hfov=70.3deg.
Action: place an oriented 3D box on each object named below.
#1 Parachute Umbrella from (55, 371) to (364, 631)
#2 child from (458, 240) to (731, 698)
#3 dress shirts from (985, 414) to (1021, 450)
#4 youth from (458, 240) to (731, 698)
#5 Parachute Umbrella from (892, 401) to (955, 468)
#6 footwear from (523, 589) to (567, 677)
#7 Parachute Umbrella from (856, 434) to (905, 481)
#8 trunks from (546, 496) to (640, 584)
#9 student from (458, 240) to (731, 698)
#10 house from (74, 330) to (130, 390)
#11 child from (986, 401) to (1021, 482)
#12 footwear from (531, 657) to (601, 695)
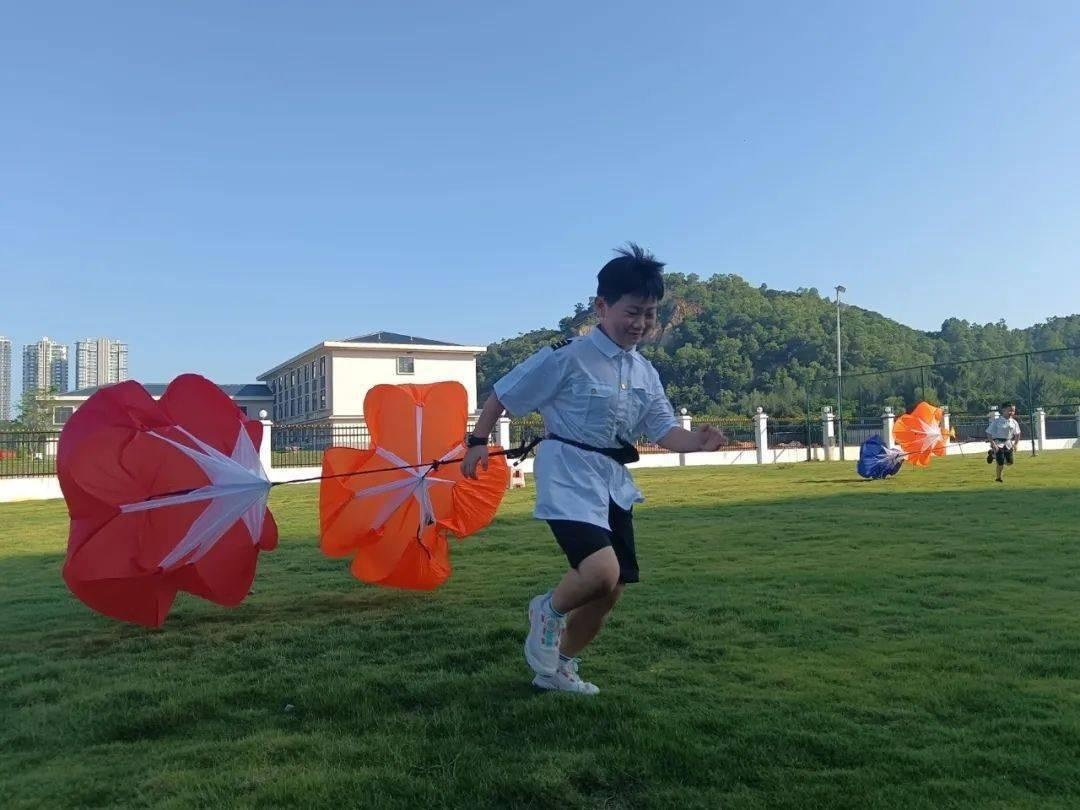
[{"bbox_3d":[-2.345,0.543,4.779,1.111,1.493,0.385,-1,-3,-34],"label":"Parachute Umbrella"},{"bbox_3d":[0.246,0.304,3.712,1.152,2.069,0.605,-2,-2,-7],"label":"child"},{"bbox_3d":[8.989,0.483,14.843,0.498,0.421,0.948,-4,-2,29],"label":"dress shirts"},{"bbox_3d":[0.244,0.304,3.713,1.162,2.069,0.606,-2,-2,-6],"label":"youth"},{"bbox_3d":[8.578,0.672,17.145,0.986,1.500,3.511,-4,-2,28],"label":"Parachute Umbrella"},{"bbox_3d":[0.044,1.032,3.738,0.149,0.453,0.208,2,-12,-26],"label":"footwear"},{"bbox_3d":[7.048,1.042,15.802,0.930,0.858,0.677,-1,-3,-37],"label":"Parachute Umbrella"},{"bbox_3d":[0.302,0.659,3.670,0.486,0.412,0.222,-1,-3,-40],"label":"trunks"},{"bbox_3d":[0.246,0.304,3.712,1.156,2.069,0.605,-2,-2,-6],"label":"student"},{"bbox_3d":[-65.036,-6.158,113.552,8.067,9.317,8.442,-5,-1,35],"label":"house"},{"bbox_3d":[8.920,0.702,14.752,0.558,1.530,0.457,0,7,16],"label":"child"},{"bbox_3d":[0.137,1.266,3.726,0.357,0.227,0.126,4,-5,-1],"label":"footwear"}]
